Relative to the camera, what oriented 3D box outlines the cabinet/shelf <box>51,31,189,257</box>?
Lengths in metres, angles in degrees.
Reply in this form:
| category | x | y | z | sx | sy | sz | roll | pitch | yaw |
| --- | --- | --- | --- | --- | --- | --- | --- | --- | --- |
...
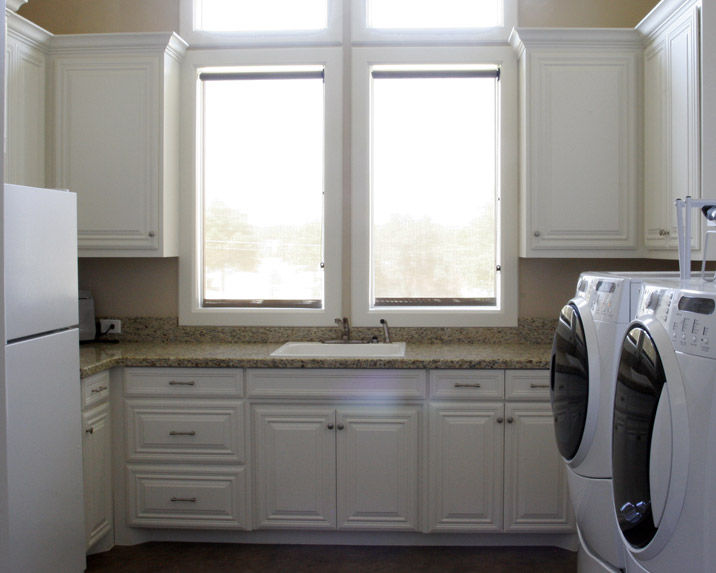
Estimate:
| category | x | y | z | sx | sy | sz | roll | pitch | yaw |
| --- | --- | --- | --- | --- | --- | --- | --- | --- | --- |
| cabinet/shelf | -1.332 | -0.765 | 3.435 | 0.651 | 1.151 | 0.268 | 0 | 14 | -1 |

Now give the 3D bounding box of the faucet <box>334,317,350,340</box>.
| category | x | y | z | sx | sy | sz | roll | pitch | yaw |
| --- | --- | --- | --- | --- | --- | --- | --- | --- | --- |
| faucet | -0.085 | 0.245 | 3.665 | 0.093 | 0.147 | 0.103 | -1 | 15 | -3 |

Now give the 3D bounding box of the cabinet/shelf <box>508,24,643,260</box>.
| category | x | y | z | sx | sy | sz | roll | pitch | yaw |
| --- | --- | --- | --- | --- | --- | --- | --- | --- | --- |
| cabinet/shelf | 1.180 | -0.760 | 3.361 | 0.663 | 1.154 | 0.274 | 0 | 14 | -1 |

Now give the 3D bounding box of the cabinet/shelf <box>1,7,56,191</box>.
| category | x | y | z | sx | sy | sz | roll | pitch | yaw |
| --- | --- | --- | --- | --- | --- | --- | --- | --- | --- |
| cabinet/shelf | -1.723 | -0.964 | 3.332 | 0.090 | 0.873 | 0.379 | 3 | 15 | 14 |

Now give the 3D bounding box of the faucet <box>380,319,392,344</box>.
| category | x | y | z | sx | sy | sz | roll | pitch | yaw |
| --- | --- | --- | --- | --- | --- | --- | --- | --- | --- |
| faucet | 0.157 | 0.253 | 3.633 | 0.066 | 0.139 | 0.110 | 1 | 15 | 3 |
